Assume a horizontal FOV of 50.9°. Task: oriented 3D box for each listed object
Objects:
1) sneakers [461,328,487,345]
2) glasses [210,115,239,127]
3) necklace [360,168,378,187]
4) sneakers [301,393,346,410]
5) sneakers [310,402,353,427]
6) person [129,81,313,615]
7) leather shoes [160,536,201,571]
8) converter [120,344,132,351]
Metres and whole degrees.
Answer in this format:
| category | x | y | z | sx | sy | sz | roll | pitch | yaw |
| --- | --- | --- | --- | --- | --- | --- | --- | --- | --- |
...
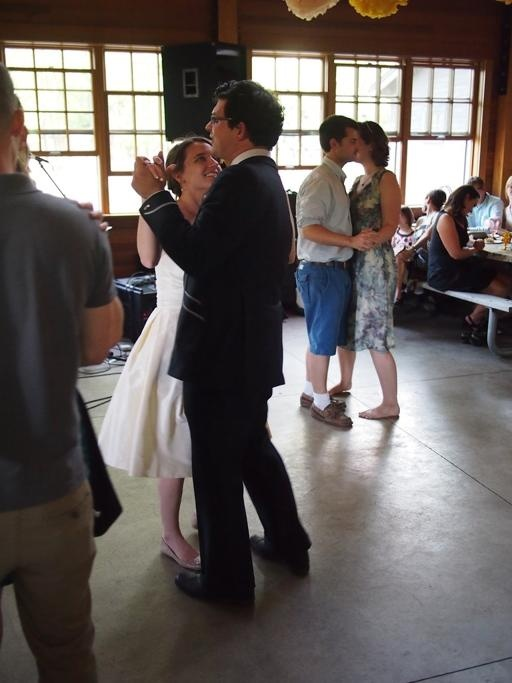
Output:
| category | x | y | z | sx | sy | sz | roll | pitch | yaw |
| --- | --- | --- | --- | --- | --- | --- | --- | --- | --- |
| sneakers | 1.973 | -0.047 | 4.927 | 0.099 | 0.120 | 0.272 | 0 | 2 | -15 |
| glasses | -0.094 | -0.633 | 1.539 | 0.063 | 0.020 | 0.063 | 5 | 19 | -5 |
| necklace | 0.661 | -0.968 | 3.200 | 0.068 | 0.100 | 0.035 | 5 | -20 | 46 |
| sneakers | 0.407 | 0.391 | 3.399 | 0.305 | 0.128 | 0.108 | 1 | 15 | 7 |
| sneakers | 0.465 | 0.429 | 3.299 | 0.278 | 0.131 | 0.098 | 17 | 8 | 43 |
| person | -0.080 | 0.054 | 1.641 | 0.341 | 1.605 | 0.472 | 5 | 13 | 29 |
| leather shoes | -0.272 | 0.787 | 1.945 | 0.191 | 0.058 | 0.072 | 29 | 6 | 24 |
| converter | -1.187 | 0.052 | 4.920 | 0.098 | 0.024 | 0.096 | 4 | 15 | -5 |
